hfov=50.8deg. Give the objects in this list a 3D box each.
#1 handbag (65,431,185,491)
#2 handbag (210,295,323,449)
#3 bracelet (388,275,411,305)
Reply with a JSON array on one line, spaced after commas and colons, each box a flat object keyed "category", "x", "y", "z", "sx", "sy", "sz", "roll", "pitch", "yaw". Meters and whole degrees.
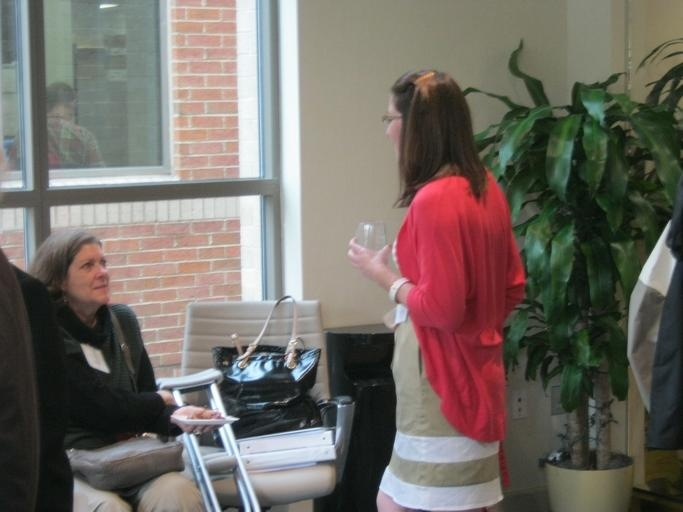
[{"category": "handbag", "x": -0.771, "y": 0.743, "z": 2.591, "sx": 0.340, "sy": 0.129, "sz": 0.340, "roll": -8, "pitch": 2, "yaw": -38}, {"category": "handbag", "x": -0.322, "y": 0.450, "z": 3.099, "sx": 0.512, "sy": 0.679, "sz": 0.225, "roll": 5, "pitch": 21, "yaw": -18}, {"category": "bracelet", "x": 0.175, "y": 0.102, "z": 2.110, "sx": 0.058, "sy": 0.071, "sz": 0.028, "roll": 14, "pitch": 2, "yaw": -44}]
